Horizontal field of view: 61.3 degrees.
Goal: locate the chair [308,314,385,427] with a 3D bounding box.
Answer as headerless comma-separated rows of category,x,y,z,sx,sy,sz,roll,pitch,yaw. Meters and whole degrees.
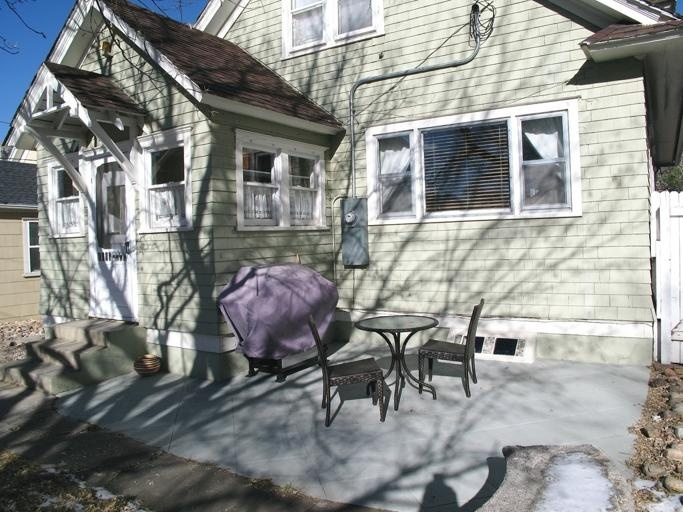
chair,0.062,1.392,7.222,0.804,1.200,0.659,-6,6,-6

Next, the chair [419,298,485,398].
chair,1.472,1.210,7.745,0.757,1.097,0.661,3,-3,27
